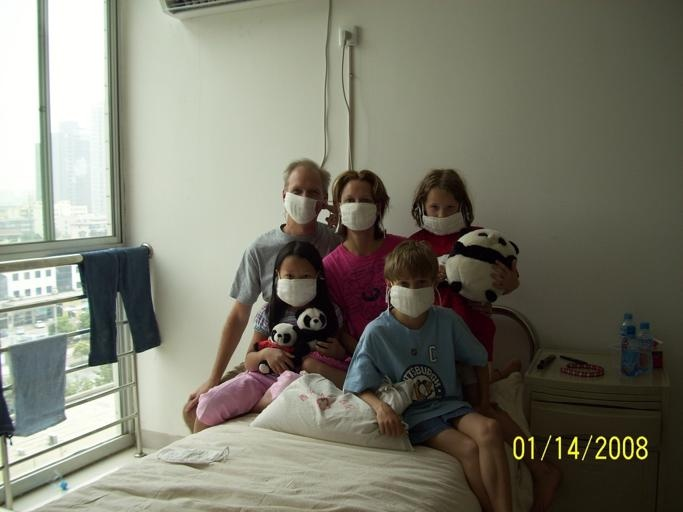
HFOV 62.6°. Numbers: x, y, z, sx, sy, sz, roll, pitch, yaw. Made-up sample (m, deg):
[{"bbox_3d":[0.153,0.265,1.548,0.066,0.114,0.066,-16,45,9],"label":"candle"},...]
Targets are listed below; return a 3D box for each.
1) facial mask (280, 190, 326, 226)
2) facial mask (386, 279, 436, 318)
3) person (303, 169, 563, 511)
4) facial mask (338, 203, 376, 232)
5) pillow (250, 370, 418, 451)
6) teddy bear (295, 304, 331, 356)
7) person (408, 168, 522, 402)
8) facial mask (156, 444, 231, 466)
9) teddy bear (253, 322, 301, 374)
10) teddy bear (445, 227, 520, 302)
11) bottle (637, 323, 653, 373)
[{"bbox_3d":[-0.192,-0.236,2.751,0.185,0.154,0.189,8,7,-19],"label":"facial mask"},{"bbox_3d":[0.294,0.163,2.313,0.196,0.126,0.223,-2,18,5],"label":"facial mask"},{"bbox_3d":[0.201,0.257,3.071,1.073,1.532,1.349,-4,-7,1],"label":"person"},{"bbox_3d":[0.070,-0.182,2.530,0.123,0.079,0.130,1,14,7],"label":"facial mask"},{"bbox_3d":[-0.018,0.554,2.215,0.412,0.137,0.317,4,11,17],"label":"pillow"},{"bbox_3d":[-0.153,0.322,2.550,0.202,0.264,0.169,6,1,-9],"label":"teddy bear"},{"bbox_3d":[0.545,0.138,2.655,0.441,1.094,0.327,-3,17,31],"label":"person"},{"bbox_3d":[-0.555,0.741,2.071,0.176,0.040,0.099,4,5,9],"label":"facial mask"},{"bbox_3d":[-0.281,0.425,2.517,0.182,0.204,0.129,4,-17,19],"label":"teddy bear"},{"bbox_3d":[0.576,0.033,2.383,0.280,0.318,0.170,12,1,-1],"label":"teddy bear"},{"bbox_3d":[1.331,0.390,2.465,0.055,0.178,0.055,-1,-1,0],"label":"bottle"}]
